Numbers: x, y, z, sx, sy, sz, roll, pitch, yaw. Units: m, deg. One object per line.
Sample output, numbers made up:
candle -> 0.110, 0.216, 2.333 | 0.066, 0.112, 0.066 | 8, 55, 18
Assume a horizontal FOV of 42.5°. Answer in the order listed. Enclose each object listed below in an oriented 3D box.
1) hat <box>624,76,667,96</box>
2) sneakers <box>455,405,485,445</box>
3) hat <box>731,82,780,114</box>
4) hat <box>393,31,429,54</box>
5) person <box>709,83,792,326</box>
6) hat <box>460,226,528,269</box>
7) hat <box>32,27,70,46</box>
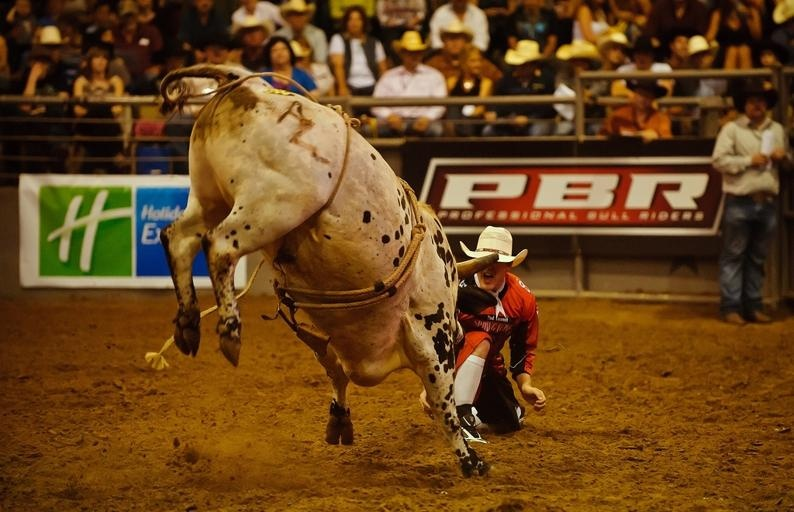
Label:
hat -> 3.603, -2.426, 14.838 | 0.584, 0.266, 0.392 | 4, 11, 20
sneakers -> 0.753, 1.742, 10.724 | 0.291, 0.545, 0.192 | -7, -3, 5
hat -> 4.810, -2.223, 13.833 | 0.602, 0.230, 0.628 | 2, -12, 7
hat -> 0.230, -3.438, 16.550 | 0.686, 0.273, 0.728 | 1, 4, -4
person -> 4.605, -0.649, 13.432 | 0.884, 2.970, 0.729 | 1, 11, 8
hat -> 1.058, -0.144, 10.744 | 0.525, 0.236, 0.540 | 9, -12, 12
hat -> -4.538, -2.882, 13.420 | 0.246, 0.266, 0.464 | 3, 11, 19
